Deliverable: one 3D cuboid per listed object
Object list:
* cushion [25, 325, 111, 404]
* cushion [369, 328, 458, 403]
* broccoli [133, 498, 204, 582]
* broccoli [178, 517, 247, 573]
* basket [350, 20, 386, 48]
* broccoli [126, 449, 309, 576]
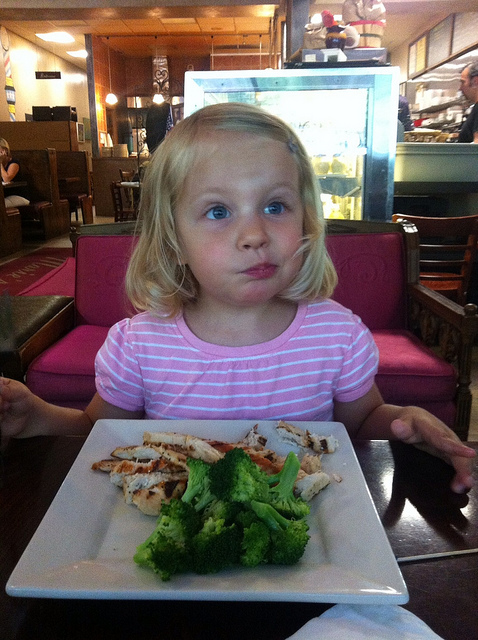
[{"bbox_3d":[-0.646,0.161,2.103,0.384,0.302,0.356,2,13,2],"label":"cushion"},{"bbox_3d":[0.668,0.194,1.908,0.355,0.079,0.349,0,14,-2],"label":"cushion"},{"bbox_3d":[-0.053,0.200,0.451,0.059,0.051,0.033,-27,18,24],"label":"broccoli"},{"bbox_3d":[-0.014,0.194,0.435,0.042,0.025,0.045,-3,14,-19],"label":"broccoli"},{"bbox_3d":[1.016,-2.191,3.871,0.254,0.156,0.243,-2,25,0],"label":"basket"},{"bbox_3d":[-0.048,0.171,0.516,0.078,0.135,0.164,-16,-18,-35],"label":"broccoli"}]
